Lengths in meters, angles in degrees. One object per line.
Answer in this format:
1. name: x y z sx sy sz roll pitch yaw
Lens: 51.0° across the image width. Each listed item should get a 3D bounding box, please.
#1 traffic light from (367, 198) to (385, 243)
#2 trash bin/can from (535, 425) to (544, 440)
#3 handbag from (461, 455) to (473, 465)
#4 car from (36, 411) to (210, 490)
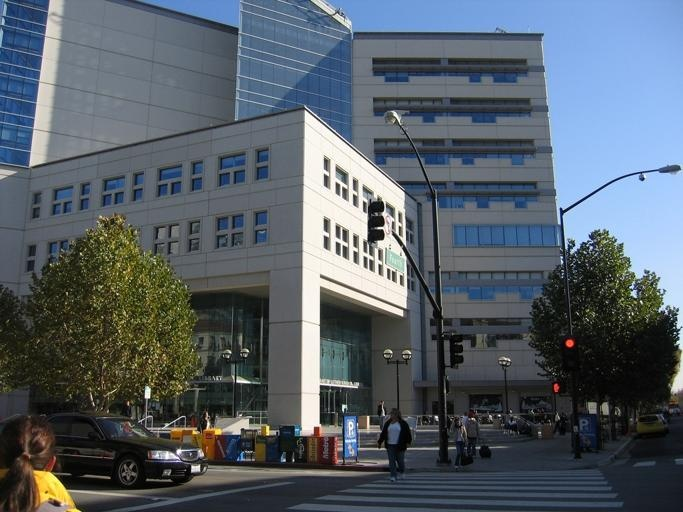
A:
1. traffic light: 1.350 -1.444 28.106 0.656 1.861 0.966 -3 -17 4
2. trash bin/can: 13.493 12.070 49.035 0.596 1.126 1.164 -4 -12 24
3. handbag: 5.301 8.678 30.555 0.607 0.590 0.221 3 -8 -32
4. car: -8.405 7.024 26.146 6.880 2.132 2.988 -6 -18 21
